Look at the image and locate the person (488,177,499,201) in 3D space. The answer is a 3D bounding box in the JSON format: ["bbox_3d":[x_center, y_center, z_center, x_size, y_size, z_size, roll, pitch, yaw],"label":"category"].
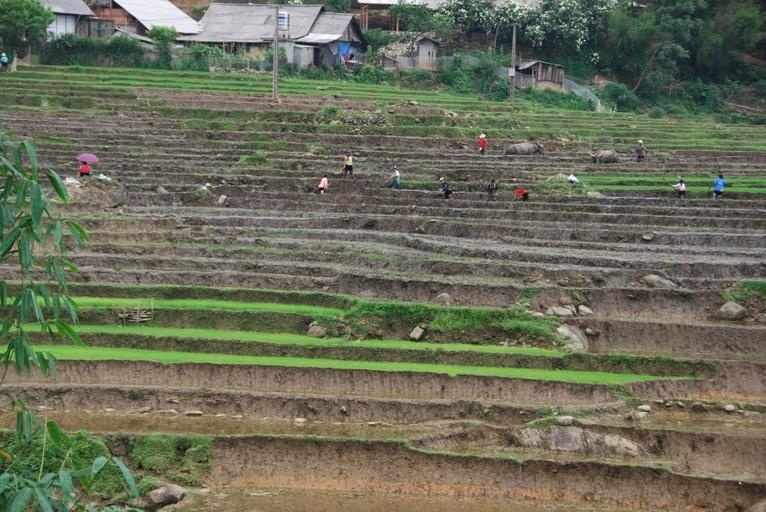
[{"bbox_3d":[5.583,-3.606,71.146,0.500,1.094,1.679,5,18,4],"label":"person"}]

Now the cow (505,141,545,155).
[{"bbox_3d":[7.744,-6.096,78.650,2.509,1.195,0.802,-1,10,-10],"label":"cow"}]

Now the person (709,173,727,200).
[{"bbox_3d":[17.038,-3.712,70.946,0.674,1.332,2.393,8,19,13],"label":"person"}]

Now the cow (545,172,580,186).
[{"bbox_3d":[9.434,-4.106,72.863,1.715,0.425,1.606,7,18,8],"label":"cow"}]

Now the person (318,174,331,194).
[{"bbox_3d":[-3.049,-3.696,71.979,0.601,0.822,0.897,4,18,-1],"label":"person"}]

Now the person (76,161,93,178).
[{"bbox_3d":[-14.992,-4.450,70.267,0.751,0.854,0.762,-2,16,-11],"label":"person"}]
